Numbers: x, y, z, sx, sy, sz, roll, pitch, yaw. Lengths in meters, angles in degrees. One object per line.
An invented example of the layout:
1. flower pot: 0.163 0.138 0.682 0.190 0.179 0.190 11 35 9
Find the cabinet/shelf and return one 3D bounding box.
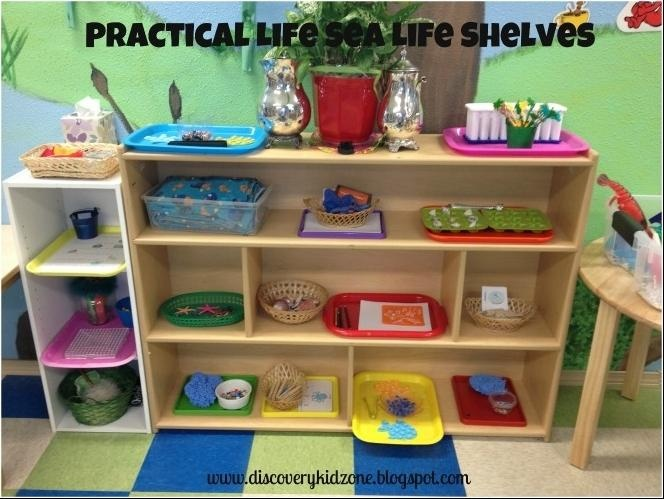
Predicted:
1. cabinet/shelf: -0.154 0.157 2.493 2.109 0.991 0.304 -1 32 0

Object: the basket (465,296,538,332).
1. basket: 0.859 0.326 2.553 0.228 0.059 0.207 -11 17 -21

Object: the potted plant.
1. potted plant: 0.017 -0.788 2.470 0.867 0.674 0.640 1 23 0

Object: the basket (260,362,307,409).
1. basket: -0.250 0.713 2.667 0.224 0.079 0.216 0 24 -11

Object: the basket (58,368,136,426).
1. basket: -1.191 0.738 2.632 0.344 0.125 0.304 5 17 15

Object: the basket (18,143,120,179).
1. basket: -1.168 -0.391 2.285 0.379 0.087 0.232 1 22 0
